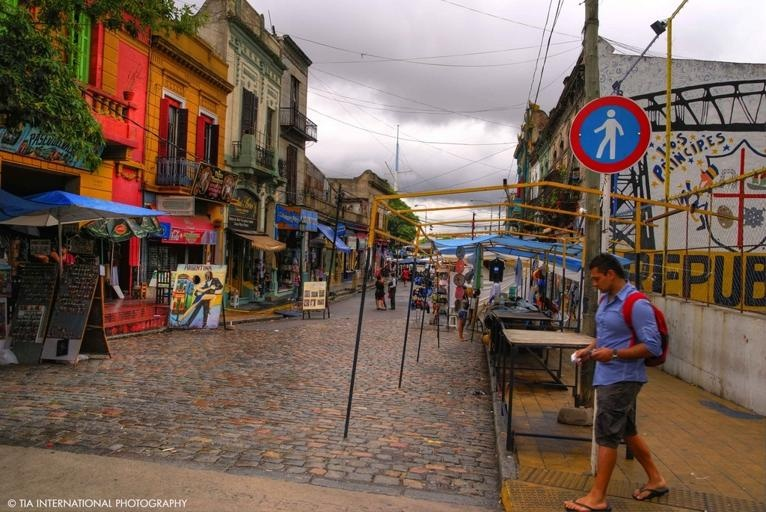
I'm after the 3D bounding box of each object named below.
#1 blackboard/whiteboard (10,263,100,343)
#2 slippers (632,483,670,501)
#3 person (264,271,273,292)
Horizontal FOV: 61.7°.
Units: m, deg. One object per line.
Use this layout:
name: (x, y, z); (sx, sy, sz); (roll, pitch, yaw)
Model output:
blackboard/whiteboard: (-7.039, 1.060, 13.775); (1.763, 1.751, 0.426); (5, 0, 2)
slippers: (3.714, 3.326, 8.872); (0.395, 0.098, 0.213); (-1, -2, -3)
person: (-5.630, 1.358, 31.564); (0.493, 1.004, 0.406); (2, -2, -33)
